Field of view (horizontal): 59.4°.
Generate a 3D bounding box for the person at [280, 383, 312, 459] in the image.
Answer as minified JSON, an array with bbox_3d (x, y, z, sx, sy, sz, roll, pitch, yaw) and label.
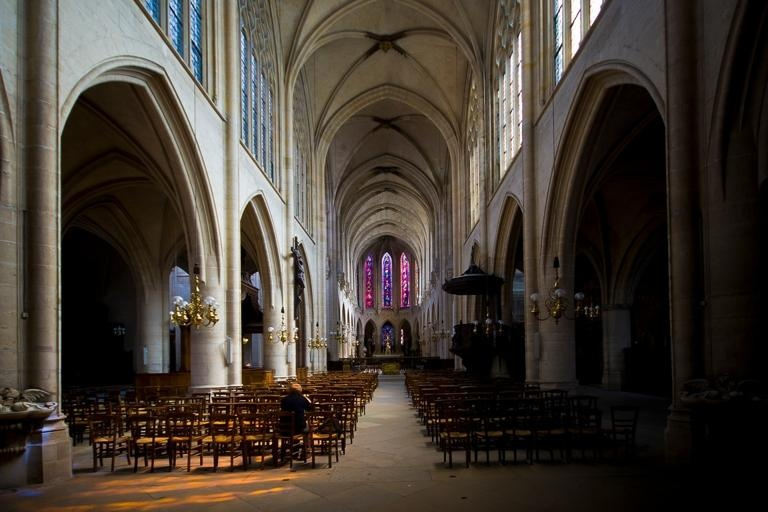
[{"bbox_3d":[-2.165,3.763,16.475,0.728,1.248,0.591,6,-12,-32],"label":"person"}]
